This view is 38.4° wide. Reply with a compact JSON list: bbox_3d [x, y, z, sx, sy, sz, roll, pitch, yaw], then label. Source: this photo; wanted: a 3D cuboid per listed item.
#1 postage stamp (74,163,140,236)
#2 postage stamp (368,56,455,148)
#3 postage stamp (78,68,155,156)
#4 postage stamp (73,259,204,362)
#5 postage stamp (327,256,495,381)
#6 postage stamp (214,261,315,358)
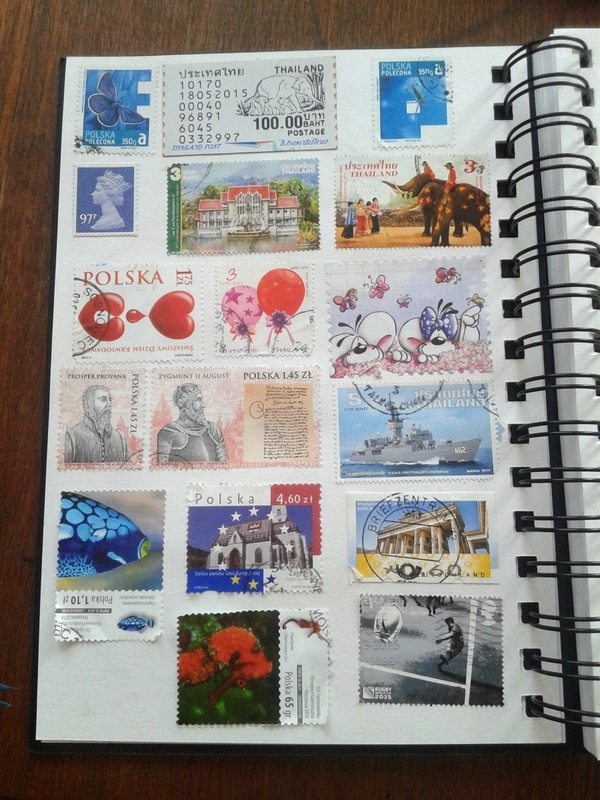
[{"bbox_3d":[-0.312,-0.319,1.394,0.122,0.007,0.127,-1,82,-1],"label":"postage stamp"},{"bbox_3d":[0.183,-0.473,1.388,0.162,0.007,0.150,-1,90,5],"label":"postage stamp"},{"bbox_3d":[-0.302,-0.472,1.405,0.115,0.079,0.113,2,51,-1],"label":"postage stamp"},{"bbox_3d":[-0.257,-0.139,1.378,0.236,0.009,0.156,1,93,18],"label":"postage stamp"},{"bbox_3d":[0.182,-0.119,1.362,0.212,0.003,0.144,-2,82,0],"label":"postage stamp"},{"bbox_3d":[-0.053,-0.136,1.367,0.163,0.007,0.147,0,83,0],"label":"postage stamp"}]
